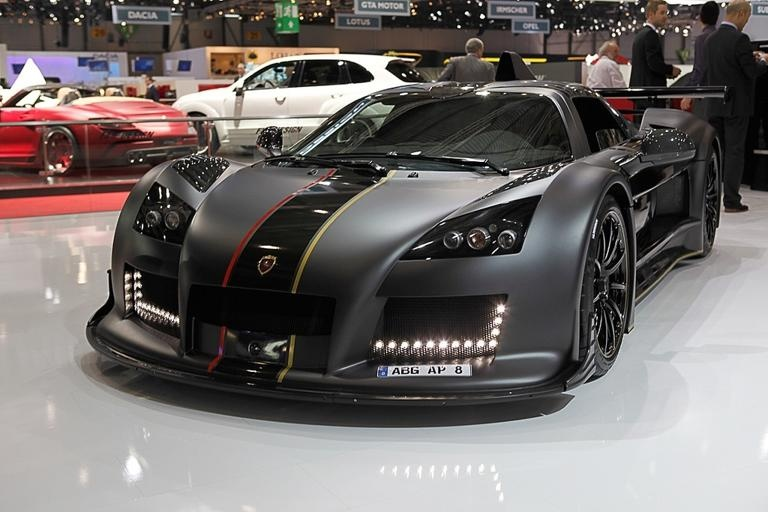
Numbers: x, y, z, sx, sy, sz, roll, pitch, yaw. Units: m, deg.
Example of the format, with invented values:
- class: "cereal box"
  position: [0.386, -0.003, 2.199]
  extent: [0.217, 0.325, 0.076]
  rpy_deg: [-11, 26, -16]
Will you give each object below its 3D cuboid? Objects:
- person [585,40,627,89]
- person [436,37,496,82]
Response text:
- class: "person"
  position: [3.493, -2.922, 8.283]
  extent: [0.473, 0.726, 0.610]
  rpy_deg: [-13, 32, -4]
- class: "person"
  position: [1.451, -3.437, 9.304]
  extent: [0.607, 0.743, 0.966]
  rpy_deg: [10, 18, 31]
